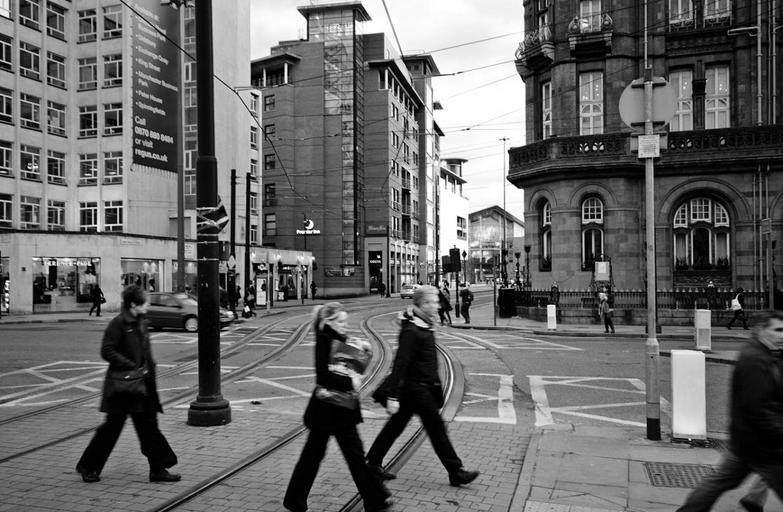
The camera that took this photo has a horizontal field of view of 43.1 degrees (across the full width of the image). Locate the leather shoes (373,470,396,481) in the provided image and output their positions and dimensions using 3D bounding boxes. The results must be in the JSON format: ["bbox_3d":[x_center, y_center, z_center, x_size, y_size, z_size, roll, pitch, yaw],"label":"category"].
[{"bbox_3d":[-0.244,5.926,26.858,0.656,0.267,0.214,11,21,-16],"label":"leather shoes"}]

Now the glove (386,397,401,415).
[{"bbox_3d":[0.017,4.037,26.859,0.416,0.412,0.412,0,3,-3],"label":"glove"}]
